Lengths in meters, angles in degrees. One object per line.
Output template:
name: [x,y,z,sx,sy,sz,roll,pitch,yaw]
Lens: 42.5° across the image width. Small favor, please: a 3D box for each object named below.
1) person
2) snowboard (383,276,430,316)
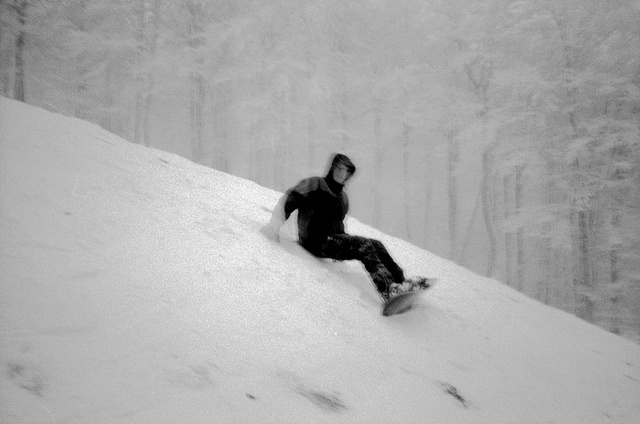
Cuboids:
person: [0.178,0.085,4.521,0.913,0.796,0.496,16,7,25]
snowboard: [0.439,0.444,4.301,0.166,0.246,0.056,24,19,-44]
